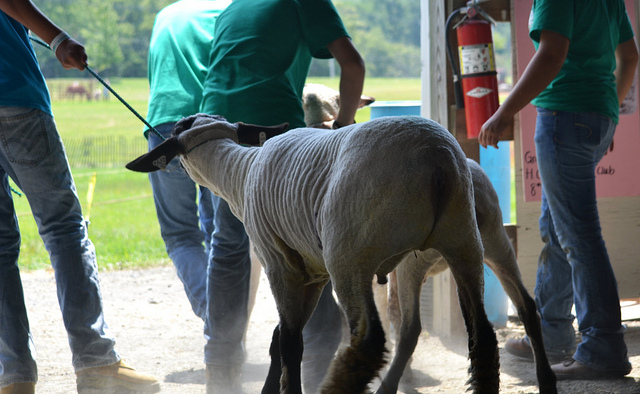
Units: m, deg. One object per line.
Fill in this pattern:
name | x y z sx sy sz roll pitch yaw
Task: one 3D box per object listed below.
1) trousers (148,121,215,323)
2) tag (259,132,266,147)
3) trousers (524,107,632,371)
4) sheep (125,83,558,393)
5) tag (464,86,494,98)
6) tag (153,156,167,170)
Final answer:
trousers | -1.435 0.287 11.857 0.899 1.930 0.958 1 -2 -27
tag | -0.570 -0.557 10.667 0.105 0.132 0.054 7 17 43
trousers | 2.498 0.356 11.660 1.480 2.319 1.116 -1 -1 5
sheep | 0.511 0.608 10.392 3.158 2.809 1.754 -4 12 -3
tag | 1.623 -1.089 11.519 0.264 0.116 0.047 -2 12 7
tag | -1.537 -0.337 10.683 0.148 0.099 0.034 -27 19 7
